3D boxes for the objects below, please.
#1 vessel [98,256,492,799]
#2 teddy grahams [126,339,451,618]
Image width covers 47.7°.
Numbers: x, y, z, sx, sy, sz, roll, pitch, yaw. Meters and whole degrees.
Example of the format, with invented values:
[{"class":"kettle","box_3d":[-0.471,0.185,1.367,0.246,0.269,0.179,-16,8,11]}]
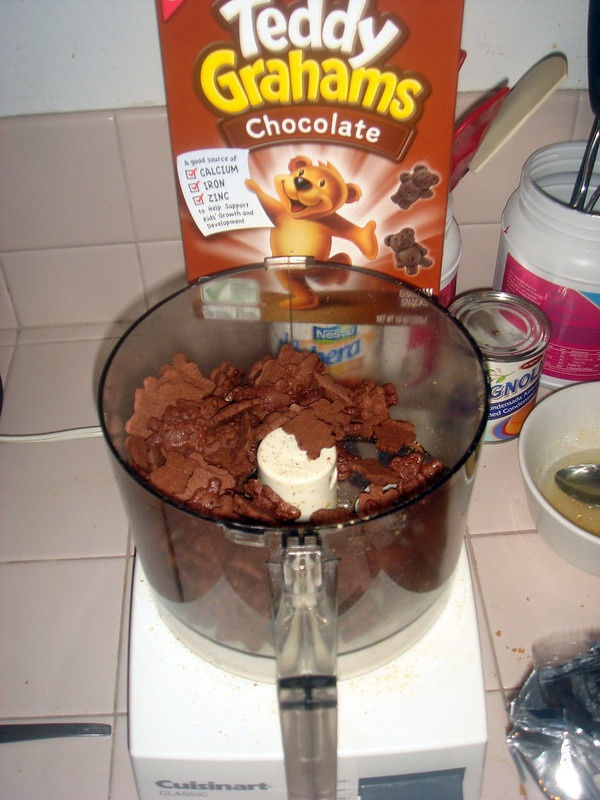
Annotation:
[{"class":"vessel","box_3d":[0.022,0.092,0.585,0.318,0.286,0.405,1,53,-3]},{"class":"teddy grahams","box_3d":[-0.012,0.023,0.548,0.203,0.032,0.141,5,45,2]}]
